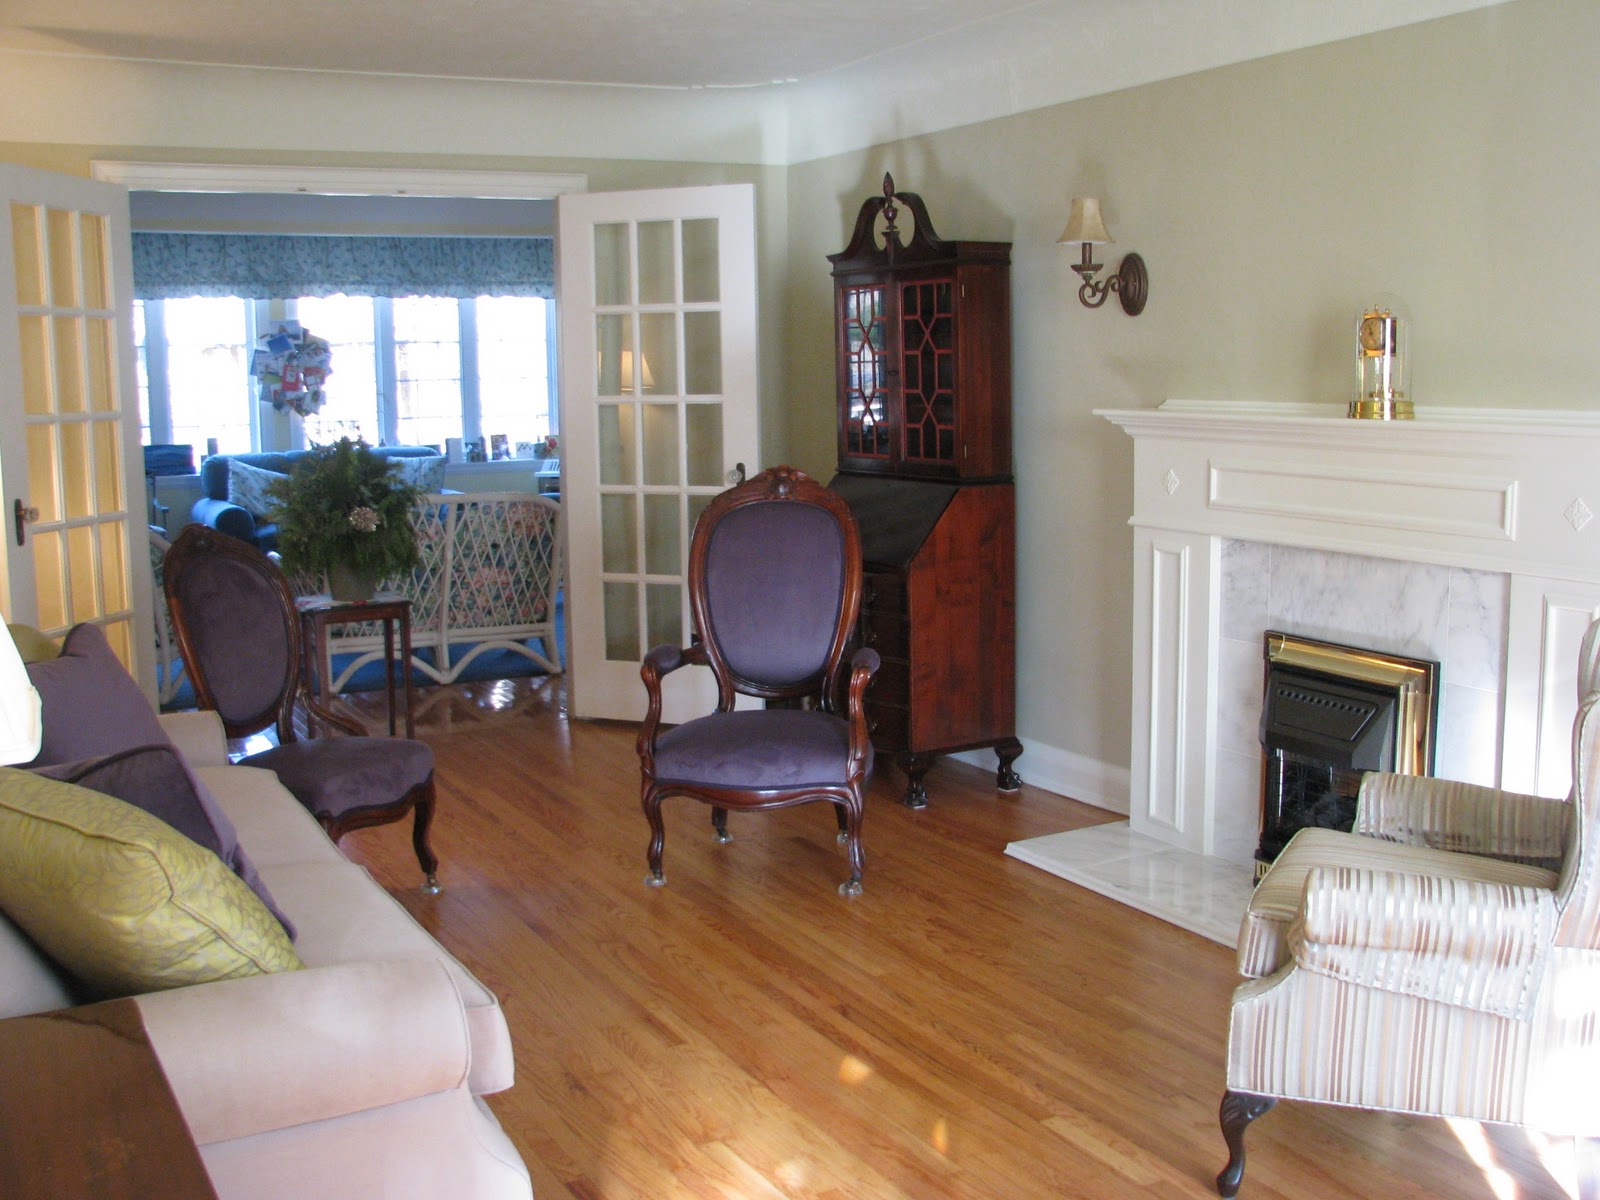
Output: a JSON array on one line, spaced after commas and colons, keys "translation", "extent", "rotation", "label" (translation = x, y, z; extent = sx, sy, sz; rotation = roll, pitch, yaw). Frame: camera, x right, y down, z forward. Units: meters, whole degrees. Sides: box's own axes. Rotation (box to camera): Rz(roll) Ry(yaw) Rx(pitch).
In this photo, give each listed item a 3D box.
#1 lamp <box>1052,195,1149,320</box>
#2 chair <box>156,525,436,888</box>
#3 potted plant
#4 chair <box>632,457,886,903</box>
[{"translation": [1.152, -1.300, 4.726], "extent": [0.317, 0.453, 0.421], "rotation": [2, 12, 14], "label": "lamp"}, {"translation": [-1.641, 0.361, 4.092], "extent": [0.726, 1.246, 0.581], "rotation": [4, 11, 29], "label": "chair"}, {"translation": [-1.964, -0.386, 5.580], "extent": [0.642, 0.730, 0.654], "rotation": [3, 17, 23], "label": "potted plant"}, {"translation": [-0.157, 0.239, 4.450], "extent": [0.806, 1.368, 0.833], "rotation": [-1, 11, -1], "label": "chair"}]
